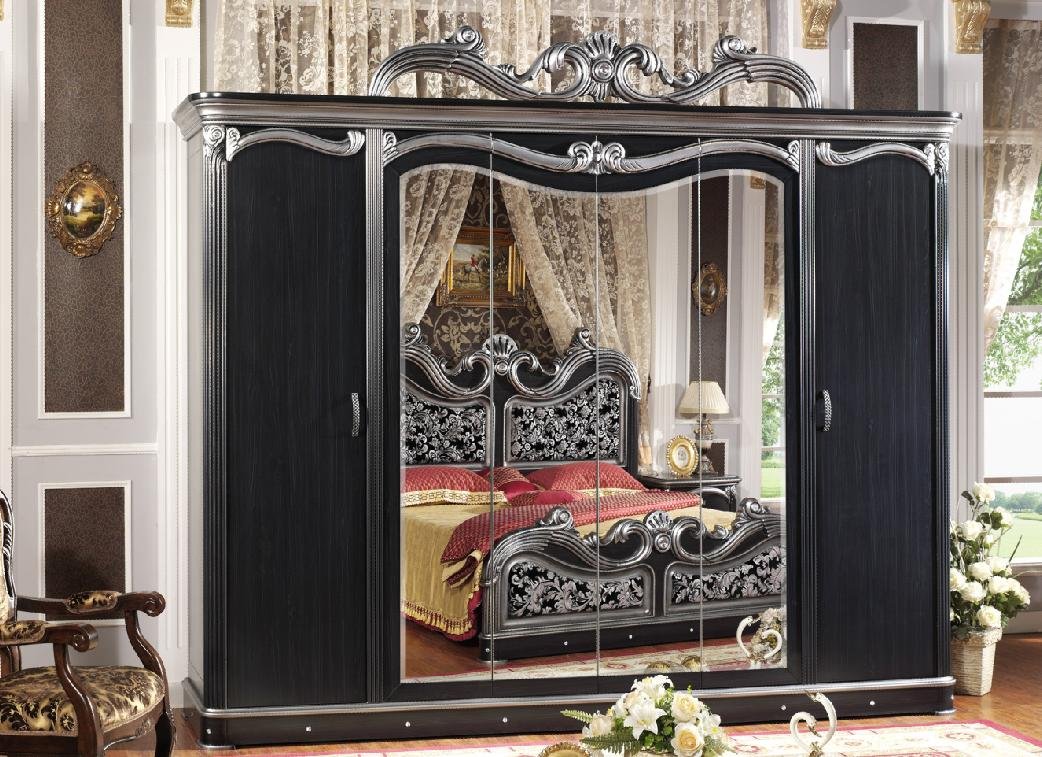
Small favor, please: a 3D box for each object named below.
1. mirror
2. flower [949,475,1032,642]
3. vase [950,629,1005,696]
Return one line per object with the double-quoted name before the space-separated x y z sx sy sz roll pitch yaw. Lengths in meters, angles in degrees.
"mirror" 0.246 0.168 5.344 2.337 2.955 0.130 -1 -1 -13
"flower" 2.392 0.877 6.115 0.348 0.716 1.155 -2 1 22
"vase" 2.202 1.385 5.848 0.266 0.305 0.273 5 -11 -7
